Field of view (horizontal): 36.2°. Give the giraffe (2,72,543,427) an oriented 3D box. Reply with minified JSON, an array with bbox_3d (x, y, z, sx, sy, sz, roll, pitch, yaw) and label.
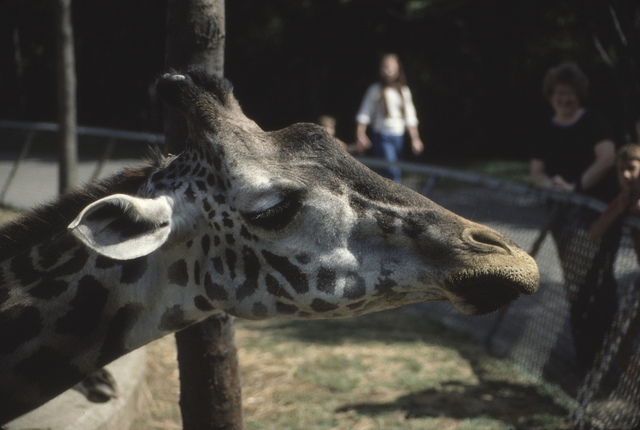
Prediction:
[{"bbox_3d":[-0.501,0.164,8.483,4.703,2.254,2.198,-10,21,7],"label":"giraffe"}]
